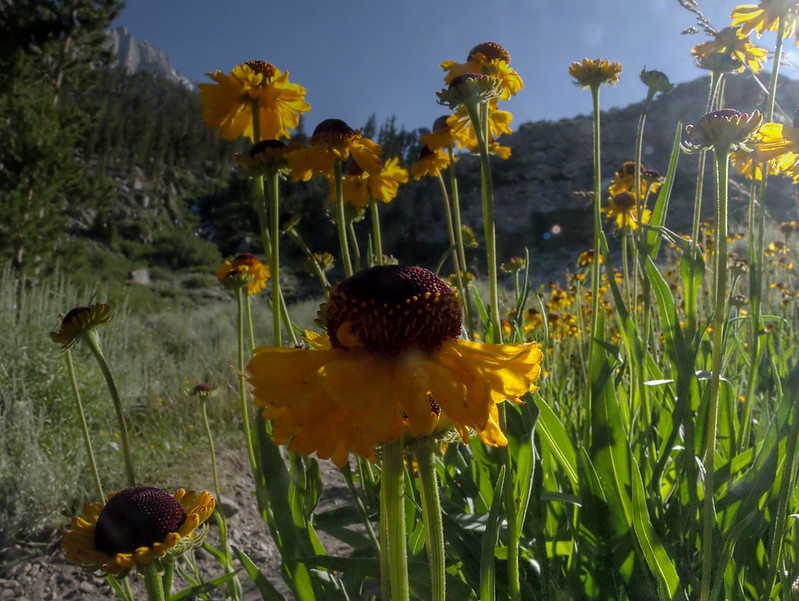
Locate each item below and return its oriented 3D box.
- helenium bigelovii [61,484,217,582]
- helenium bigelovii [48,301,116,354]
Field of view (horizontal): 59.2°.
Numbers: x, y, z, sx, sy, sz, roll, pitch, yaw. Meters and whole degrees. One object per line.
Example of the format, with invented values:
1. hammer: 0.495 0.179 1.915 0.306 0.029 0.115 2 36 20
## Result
1. helenium bigelovii: -0.986 0.821 2.674 0.472 0.247 0.542 -4 8 4
2. helenium bigelovii: -1.214 0.065 2.690 0.183 0.096 0.200 -7 7 -20
